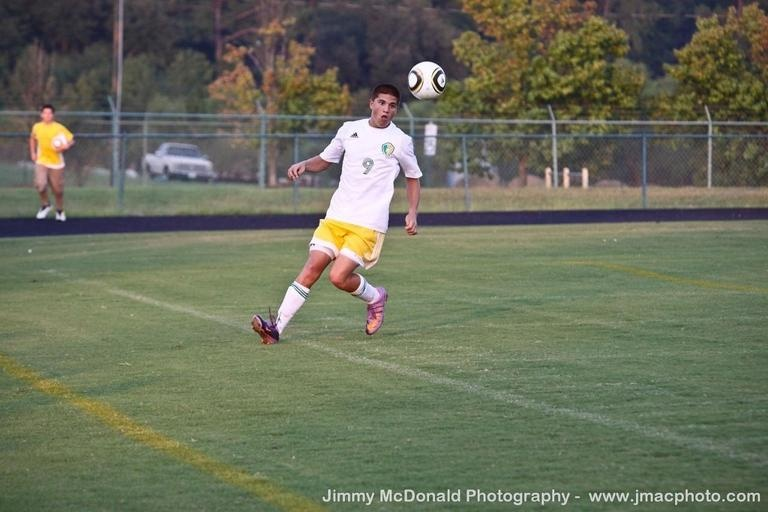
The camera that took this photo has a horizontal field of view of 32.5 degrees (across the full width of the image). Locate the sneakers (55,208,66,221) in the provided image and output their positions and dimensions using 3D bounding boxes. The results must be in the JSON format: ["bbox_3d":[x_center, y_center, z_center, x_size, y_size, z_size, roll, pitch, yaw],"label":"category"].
[{"bbox_3d":[-7.429,-0.916,30.465,0.184,0.178,0.392,-4,3,-26],"label":"sneakers"}]

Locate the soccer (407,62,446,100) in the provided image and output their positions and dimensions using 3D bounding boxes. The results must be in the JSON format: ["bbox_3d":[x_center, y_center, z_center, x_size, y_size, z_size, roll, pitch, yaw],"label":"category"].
[{"bbox_3d":[0.845,-3.455,25.122,0.759,0.745,0.791,-2,45,6],"label":"soccer"}]

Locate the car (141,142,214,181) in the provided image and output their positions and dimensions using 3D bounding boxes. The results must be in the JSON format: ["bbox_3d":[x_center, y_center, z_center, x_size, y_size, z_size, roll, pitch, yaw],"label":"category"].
[{"bbox_3d":[-5.756,-2.615,36.910,0.951,0.731,2.070,-1,6,-27],"label":"car"}]
